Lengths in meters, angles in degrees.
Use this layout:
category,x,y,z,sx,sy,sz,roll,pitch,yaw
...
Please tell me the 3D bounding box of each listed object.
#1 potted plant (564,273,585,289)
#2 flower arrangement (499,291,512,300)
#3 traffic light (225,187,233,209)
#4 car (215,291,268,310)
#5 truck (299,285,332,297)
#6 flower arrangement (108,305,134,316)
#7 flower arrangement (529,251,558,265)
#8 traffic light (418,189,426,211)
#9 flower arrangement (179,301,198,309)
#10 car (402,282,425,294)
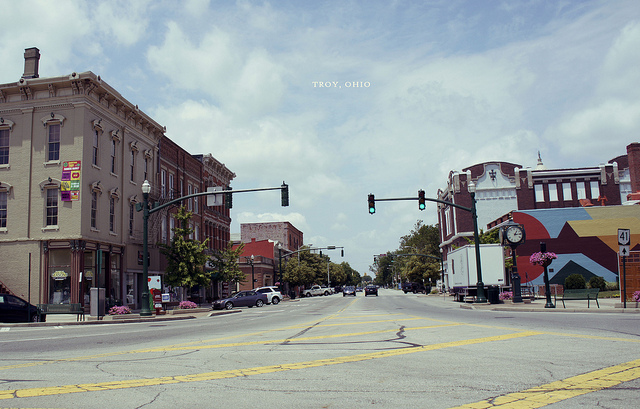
category,x,y,z,sx,sy,sz,roll,pitch,yaw
potted plant,22.590,6.910,56.607,1.552,1.310,1.542,-4,-12,-1
flower arrangement,15.262,7.565,52.410,1.288,0.770,1.829,-1,-7,26
traffic light,-5.970,-0.274,41.251,0.342,0.917,0.434,1,-13,-18
car,-6.826,8.415,56.033,1.260,1.821,7.364,-8,-14,23
truck,-0.440,13.671,101.142,4.744,1.815,2.158,4,-16,-7
flower arrangement,-13.664,7.222,43.207,1.358,0.687,2.007,-3,-13,3
flower arrangement,13.748,3.293,39.338,0.997,0.658,1.336,-4,-6,4
traffic light,6.743,-0.283,42.046,0.380,1.344,1.700,-5,-13,9
flower arrangement,-10.692,8.120,50.966,0.957,0.500,0.990,4,-8,-9
car,14.722,12.890,98.201,2.720,1.193,1.604,0,-4,-25
